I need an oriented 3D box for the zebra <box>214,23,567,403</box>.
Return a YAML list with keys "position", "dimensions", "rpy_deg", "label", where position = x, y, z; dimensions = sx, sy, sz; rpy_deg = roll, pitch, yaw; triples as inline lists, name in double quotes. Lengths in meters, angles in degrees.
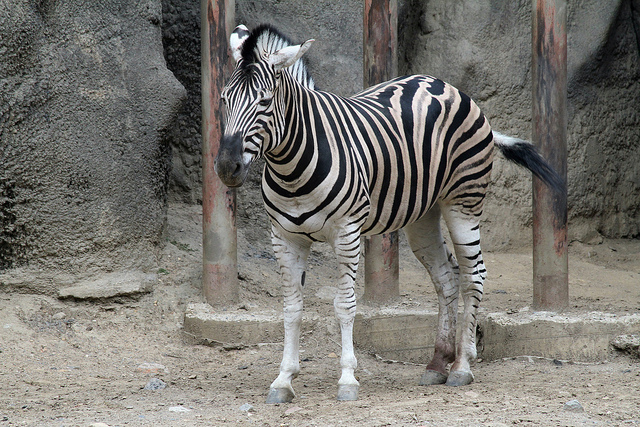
- position: [0.674, 0.046, 10.847]
  dimensions: [1.215, 3.488, 5.187]
  rpy_deg: [-5, -3, 40]
  label: "zebra"
